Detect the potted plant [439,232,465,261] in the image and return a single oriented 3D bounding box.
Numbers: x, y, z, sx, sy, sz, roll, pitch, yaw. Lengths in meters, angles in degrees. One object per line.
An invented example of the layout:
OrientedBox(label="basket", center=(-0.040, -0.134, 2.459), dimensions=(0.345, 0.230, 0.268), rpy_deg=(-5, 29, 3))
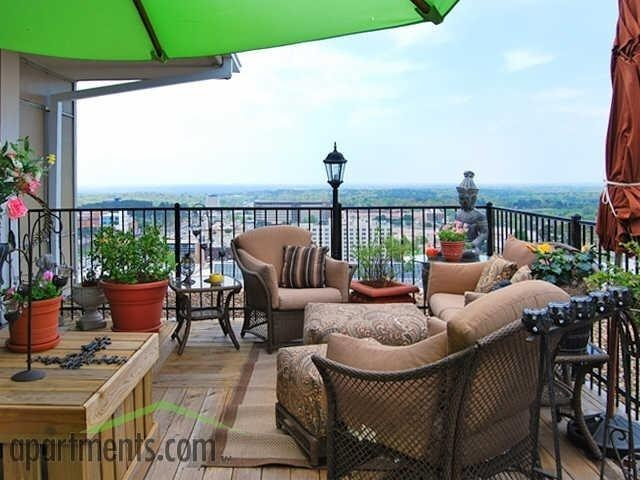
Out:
OrientedBox(label="potted plant", center=(1.257, 0.065, 4.941), dimensions=(0.260, 0.296, 0.265), rpy_deg=(0, -4, 1))

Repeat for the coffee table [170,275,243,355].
OrientedBox(label="coffee table", center=(-1.121, 0.643, 4.932), dimensions=(0.794, 0.728, 0.756), rpy_deg=(-1, 5, -19))

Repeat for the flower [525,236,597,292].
OrientedBox(label="flower", center=(1.639, 0.155, 3.468), dimensions=(0.397, 0.243, 0.591), rpy_deg=(3, 10, 23))

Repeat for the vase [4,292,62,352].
OrientedBox(label="vase", center=(-1.631, 0.458, 2.917), dimensions=(0.269, 0.293, 0.298), rpy_deg=(3, 5, 8))

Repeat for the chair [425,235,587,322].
OrientedBox(label="chair", center=(1.274, 0.292, 4.050), dimensions=(0.770, 0.765, 0.780), rpy_deg=(1, 4, -13))

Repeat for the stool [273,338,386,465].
OrientedBox(label="stool", center=(0.045, 0.897, 3.140), dimensions=(0.697, 0.625, 0.710), rpy_deg=(1, -6, 0))

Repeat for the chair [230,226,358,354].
OrientedBox(label="chair", center=(-0.294, 0.399, 5.025), dimensions=(1.042, 1.142, 1.131), rpy_deg=(0, -1, -23))

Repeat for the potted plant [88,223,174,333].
OrientedBox(label="potted plant", center=(-1.557, 0.390, 5.041), dimensions=(0.901, 1.188, 0.857), rpy_deg=(1, -6, -11))

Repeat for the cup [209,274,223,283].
OrientedBox(label="cup", center=(-0.955, 0.351, 4.680), dimensions=(0.087, 0.048, 0.067), rpy_deg=(1, -2, 2))

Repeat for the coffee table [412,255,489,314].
OrientedBox(label="coffee table", center=(1.111, 0.397, 4.421), dimensions=(0.433, 0.573, 0.461), rpy_deg=(4, -6, -4))

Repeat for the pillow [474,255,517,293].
OrientedBox(label="pillow", center=(1.346, 0.266, 3.929), dimensions=(0.086, 0.269, 0.277), rpy_deg=(29, -4, -26))
